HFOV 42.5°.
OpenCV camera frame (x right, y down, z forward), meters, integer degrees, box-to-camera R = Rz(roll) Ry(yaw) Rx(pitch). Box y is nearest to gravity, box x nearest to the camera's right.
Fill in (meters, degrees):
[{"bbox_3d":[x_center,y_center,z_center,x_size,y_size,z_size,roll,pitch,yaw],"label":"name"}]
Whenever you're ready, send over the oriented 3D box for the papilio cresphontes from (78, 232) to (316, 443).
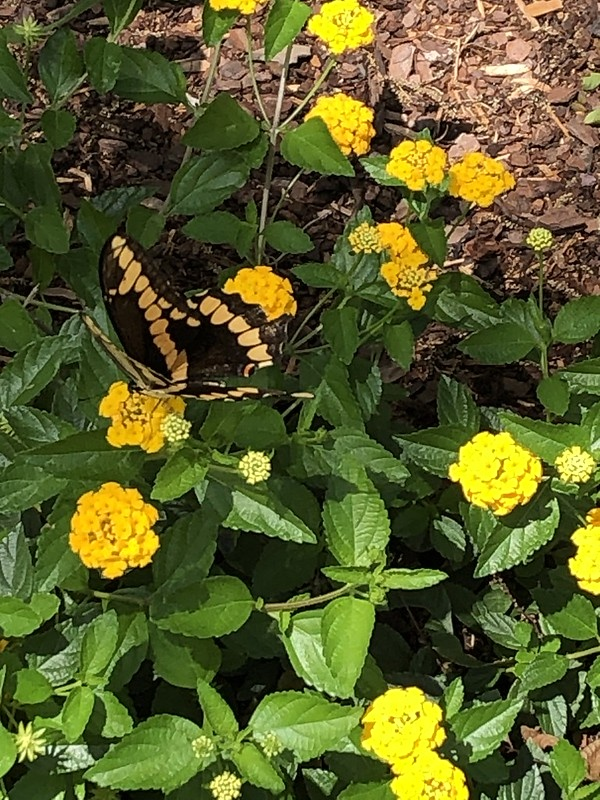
[{"bbox_3d":[-0.180,-0.112,1.633,0.404,0.274,0.490,-2,20,11],"label":"papilio cresphontes"}]
